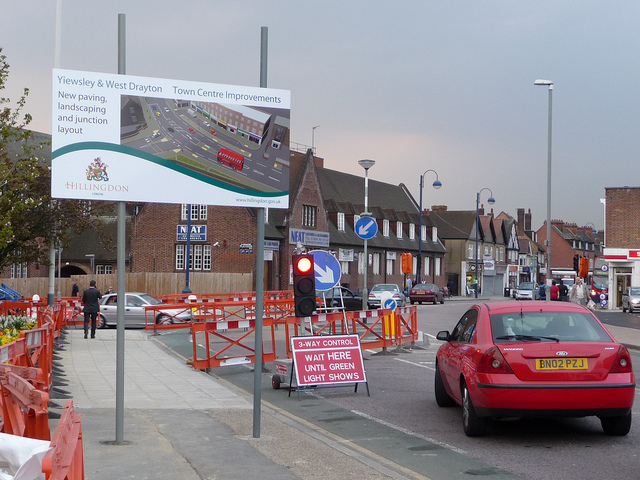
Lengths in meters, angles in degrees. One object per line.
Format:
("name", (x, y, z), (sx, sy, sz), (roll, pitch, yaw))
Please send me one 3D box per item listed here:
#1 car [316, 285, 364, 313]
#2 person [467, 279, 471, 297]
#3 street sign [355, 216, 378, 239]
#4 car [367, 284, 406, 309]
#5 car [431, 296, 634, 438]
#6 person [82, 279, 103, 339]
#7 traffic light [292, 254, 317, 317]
("car", (0.701, 2.740, 39.560), (1.200, 1.096, 3.108), (1, 3, 43))
("person", (15.939, 5.331, 91.610), (0.570, 1.071, 1.511), (0, 2, 12))
("street sign", (1.273, -0.336, 24.025), (0.542, 0.641, 1.007), (0, -4, 2))
("car", (3.581, 3.074, 47.572), (1.276, 1.085, 3.178), (0, 1, 9))
("car", (2.948, 1.941, 13.232), (1.499, 1.085, 3.032), (-1, 1, -3))
("person", (-7.711, 2.348, 28.505), (0.532, 1.886, 1.430), (0, -4, -12))
("traffic light", (-0.296, 0.805, 14.907), (0.399, 1.100, 0.470), (0, -3, -3))
